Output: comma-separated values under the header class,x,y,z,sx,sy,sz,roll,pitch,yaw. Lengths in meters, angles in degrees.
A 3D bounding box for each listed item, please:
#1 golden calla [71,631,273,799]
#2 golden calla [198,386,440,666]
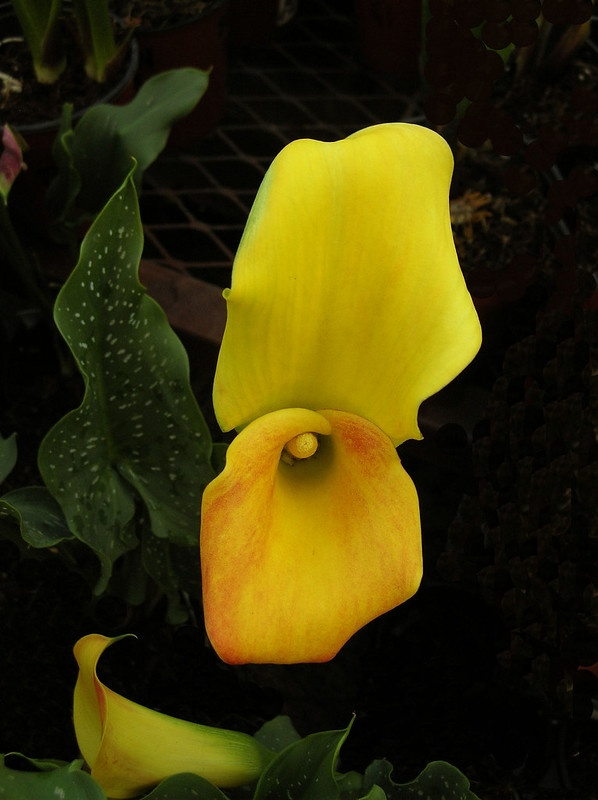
class,x,y,z,sx,sy,sz,roll,pitch,yaw
golden calla,-0.067,0.165,0.430,0.126,0.066,0.084,10,80,-17
golden calla,0.006,0.055,0.377,0.122,0.053,0.121,-4,90,-11
